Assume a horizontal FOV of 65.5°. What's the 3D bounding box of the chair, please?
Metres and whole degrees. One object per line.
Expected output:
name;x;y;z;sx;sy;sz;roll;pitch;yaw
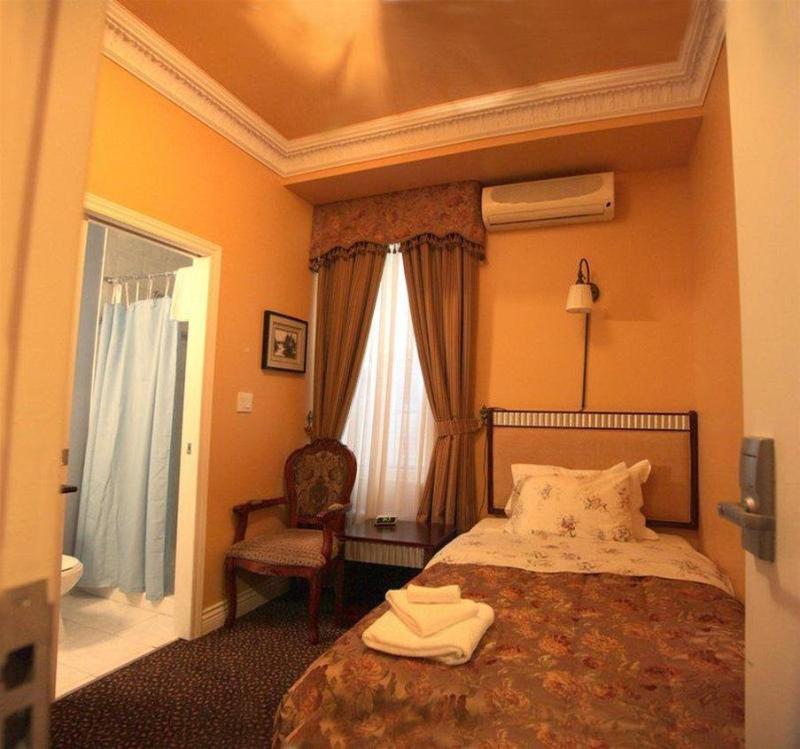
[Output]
chair;-0.512;0.751;3.286;0.614;1.125;0.782;-2;-10;15

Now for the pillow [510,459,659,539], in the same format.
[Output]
pillow;0.779;0.575;2.770;0.419;0.137;0.422;-6;19;15

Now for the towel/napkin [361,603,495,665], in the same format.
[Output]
towel/napkin;0.067;0.642;1.573;0.299;0.123;0.247;0;0;25

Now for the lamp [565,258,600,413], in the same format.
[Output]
lamp;0.956;-0.217;3.231;0.155;0.754;0.389;0;0;18

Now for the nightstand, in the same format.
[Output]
nightstand;-0.035;0.996;3.161;0.392;0.229;0.313;1;1;23

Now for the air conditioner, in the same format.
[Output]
air conditioner;0.788;-0.929;3.366;0.682;0.258;0.129;0;0;22
